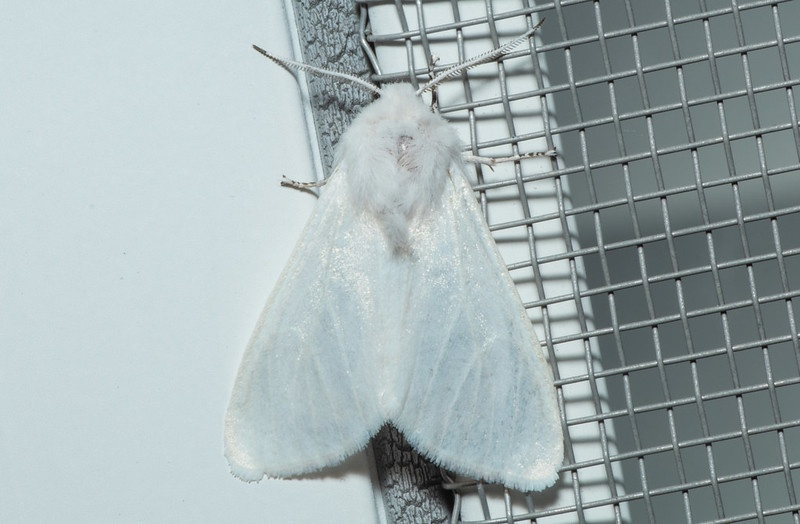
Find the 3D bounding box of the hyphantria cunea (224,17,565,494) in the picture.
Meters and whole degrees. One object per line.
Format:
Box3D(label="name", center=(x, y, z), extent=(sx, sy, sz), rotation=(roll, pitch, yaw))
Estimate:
Box3D(label="hyphantria cunea", center=(-0.013, 0.002, 2.750), extent=(0.670, 0.930, 0.219), rotation=(-1, -8, 5))
